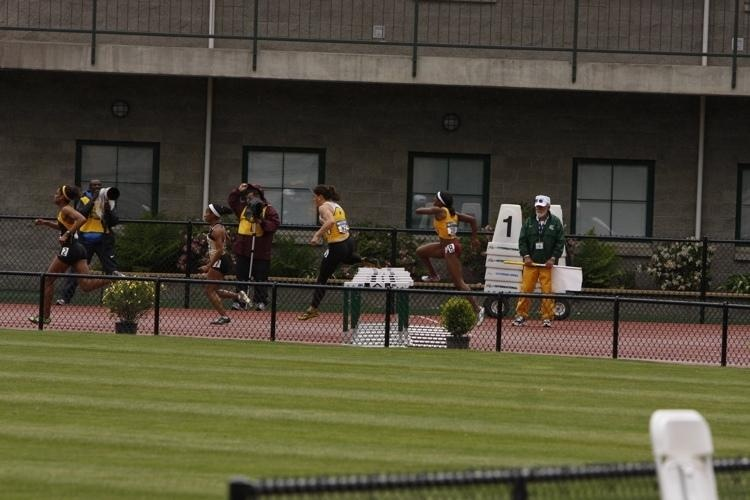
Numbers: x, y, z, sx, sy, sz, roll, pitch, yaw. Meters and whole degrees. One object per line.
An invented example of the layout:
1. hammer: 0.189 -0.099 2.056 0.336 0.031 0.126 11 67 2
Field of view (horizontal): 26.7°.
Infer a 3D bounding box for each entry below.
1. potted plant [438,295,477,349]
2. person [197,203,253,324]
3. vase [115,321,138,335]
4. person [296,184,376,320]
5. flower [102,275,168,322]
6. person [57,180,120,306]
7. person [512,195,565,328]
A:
1. potted plant: 1.488 1.245 27.879 0.633 0.903 0.223 1 -2 4
2. person: -2.721 0.169 29.195 1.071 2.281 0.702 0 0 -10
3. vase: -4.418 1.343 28.046 0.268 0.209 0.282 2 -4 0
4. person: -0.740 -0.048 30.051 1.408 2.746 1.037 1 -2 -7
5. flower: -4.357 0.751 28.340 0.833 0.937 0.741 -1 8 -12
6. person: -5.496 -0.196 30.906 0.954 2.331 0.850 3 -2 -13
7. person: 3.074 0.084 29.987 0.944 2.622 0.681 -1 1 18
